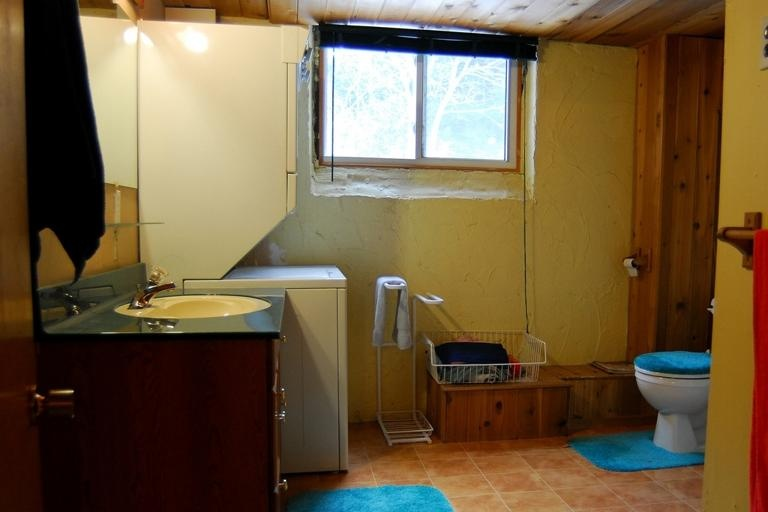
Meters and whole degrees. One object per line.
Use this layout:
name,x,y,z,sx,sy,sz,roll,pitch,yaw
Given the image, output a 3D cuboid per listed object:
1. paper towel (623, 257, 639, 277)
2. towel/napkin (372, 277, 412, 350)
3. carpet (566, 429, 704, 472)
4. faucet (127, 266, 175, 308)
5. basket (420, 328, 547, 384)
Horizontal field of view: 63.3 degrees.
paper towel,1.694,0.080,4.295,0.115,0.154,0.100,10,17,38
towel/napkin,0.094,0.360,3.980,0.264,0.445,0.472,4,0,5
carpet,1.494,1.165,3.739,0.724,0.034,0.451,-2,13,-8
faucet,-1.057,0.135,2.806,0.184,0.198,0.323,-6,14,-23
basket,0.650,0.660,3.968,0.601,0.212,0.374,-1,3,-9
